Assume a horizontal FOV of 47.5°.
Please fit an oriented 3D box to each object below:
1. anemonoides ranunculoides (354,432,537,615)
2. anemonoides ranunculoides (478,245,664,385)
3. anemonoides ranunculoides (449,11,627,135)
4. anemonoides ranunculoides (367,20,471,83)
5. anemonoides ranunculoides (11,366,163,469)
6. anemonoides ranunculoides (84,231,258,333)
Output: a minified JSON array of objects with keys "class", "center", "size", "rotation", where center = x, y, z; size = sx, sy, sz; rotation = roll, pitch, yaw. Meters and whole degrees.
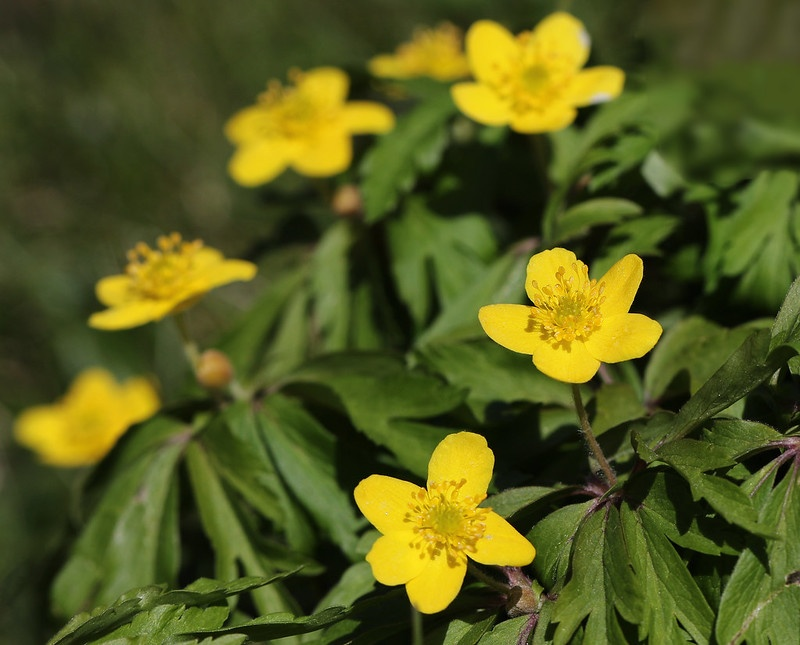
[{"class":"anemonoides ranunculoides","center":[0.019,0.175,0.794],"size":[0.223,0.228,0.050],"rotation":[21,84,23]},{"class":"anemonoides ranunculoides","center":[0.158,-0.011,0.798],"size":[0.143,0.047,0.137],"rotation":[29,76,24]},{"class":"anemonoides ranunculoides","center":[0.147,-0.275,0.990],"size":[0.186,0.076,0.107],"rotation":[-16,63,7]},{"class":"anemonoides ranunculoides","center":[0.027,-0.299,1.008],"size":[0.093,0.023,0.063],"rotation":[-11,78,-7]},{"class":"anemonoides ranunculoides","center":[-0.320,0.099,0.932],"size":[0.147,0.030,0.084],"rotation":[-34,62,-2]},{"class":"anemonoides ranunculoides","center":[-0.238,-0.046,0.929],"size":[0.111,0.046,0.116],"rotation":[-20,49,-25]}]
